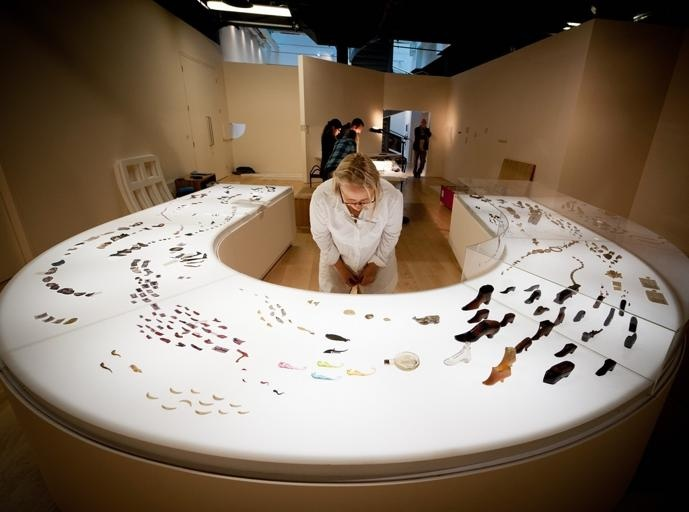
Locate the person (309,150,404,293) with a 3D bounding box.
[{"bbox_3d":[0.065,-0.157,2.662,0.582,1.001,0.470,4,22,5],"label":"person"}]

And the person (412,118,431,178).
[{"bbox_3d":[1.827,-2.531,9.842,0.399,1.385,1.094,6,22,11],"label":"person"}]

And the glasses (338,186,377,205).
[{"bbox_3d":[0.064,-0.350,2.417,0.112,0.064,0.146,1,27,-3],"label":"glasses"}]
